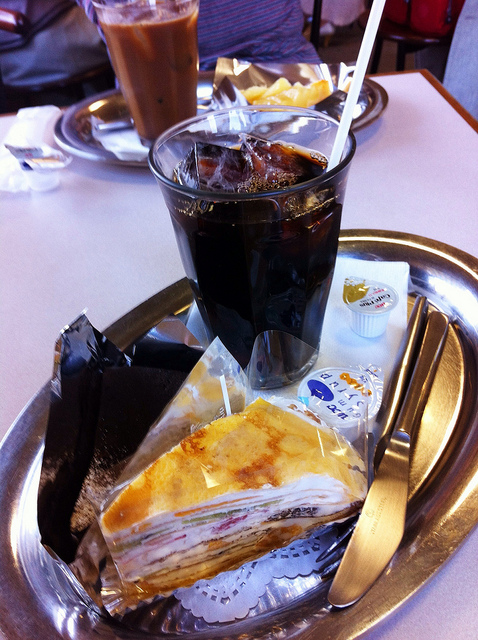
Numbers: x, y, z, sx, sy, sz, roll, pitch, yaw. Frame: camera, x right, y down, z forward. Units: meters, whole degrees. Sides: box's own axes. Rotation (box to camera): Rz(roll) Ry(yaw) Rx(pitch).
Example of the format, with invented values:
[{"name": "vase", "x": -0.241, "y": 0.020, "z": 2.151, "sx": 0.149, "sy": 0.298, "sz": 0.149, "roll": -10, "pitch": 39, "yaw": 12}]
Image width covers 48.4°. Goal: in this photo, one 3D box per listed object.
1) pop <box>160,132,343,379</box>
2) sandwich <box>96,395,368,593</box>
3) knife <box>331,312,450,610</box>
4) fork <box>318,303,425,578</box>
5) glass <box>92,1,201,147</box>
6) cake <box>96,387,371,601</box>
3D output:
[{"name": "pop", "x": 0.012, "y": -0.071, "z": 0.485, "sx": 0.181, "sy": 0.212, "sz": 0.183, "roll": -4, "pitch": 43, "yaw": 1}, {"name": "sandwich", "x": 0.000, "y": 0.097, "z": 0.323, "sx": 0.147, "sy": 0.047, "sz": 0.089, "roll": -21, "pitch": 45, "yaw": -21}, {"name": "knife", "x": 0.106, "y": 0.052, "z": 0.374, "sx": 0.045, "sy": 0.015, "sz": 0.355, "roll": 9, "pitch": 33, "yaw": 16}, {"name": "fork", "x": 0.159, "y": 0.024, "z": 0.506, "sx": 0.036, "sy": 0.023, "sz": 0.459, "roll": 13, "pitch": 40, "yaw": 21}, {"name": "glass", "x": -0.127, "y": -0.385, "z": 0.847, "sx": 0.146, "sy": 0.235, "sz": 0.074, "roll": -9, "pitch": 50, "yaw": -4}, {"name": "cake", "x": 0.003, "y": 0.103, "z": 0.333, "sx": 0.173, "sy": 0.060, "sz": 0.109, "roll": -26, "pitch": 29, "yaw": -33}]
